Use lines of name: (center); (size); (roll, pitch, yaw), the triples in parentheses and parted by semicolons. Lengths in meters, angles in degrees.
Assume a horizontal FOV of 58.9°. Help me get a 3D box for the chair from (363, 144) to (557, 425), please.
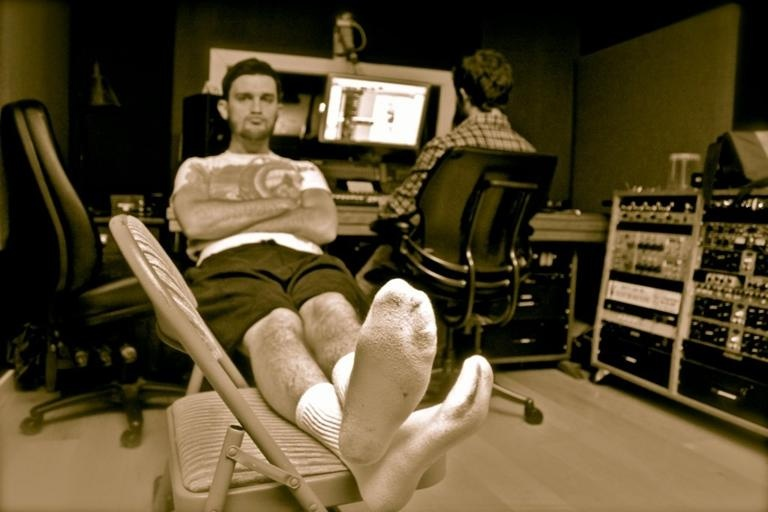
chair: (0.440, 0.133, 3.822); (0.953, 1.389, 0.934); (1, 4, -38)

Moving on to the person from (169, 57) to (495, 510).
person: (-0.322, 0.001, 2.829); (0.850, 1.571, 1.608); (-5, 16, -27)

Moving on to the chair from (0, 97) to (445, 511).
chair: (-0.888, 0.150, 3.673); (1.955, 1.994, 1.647); (0, 4, -12)
